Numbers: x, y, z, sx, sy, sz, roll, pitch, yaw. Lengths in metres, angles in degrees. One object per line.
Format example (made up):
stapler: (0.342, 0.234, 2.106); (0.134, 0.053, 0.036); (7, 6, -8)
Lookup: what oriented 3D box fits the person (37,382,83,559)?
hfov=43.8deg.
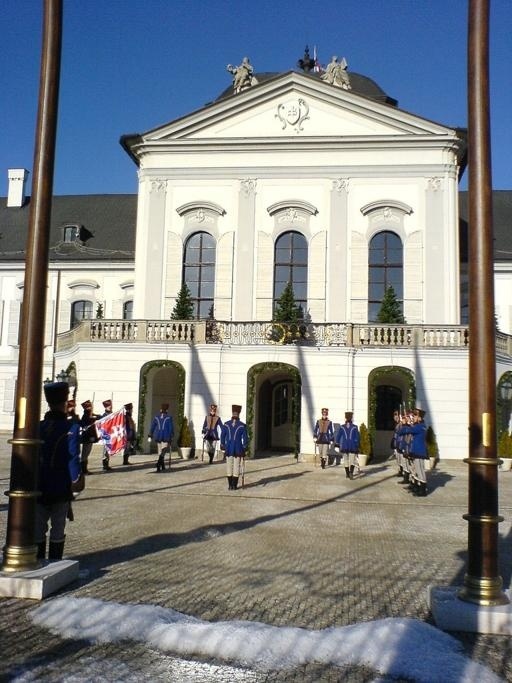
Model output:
person: (-1.920, 1.256, 6.266); (0.421, 1.730, 0.607); (2, -9, -19)

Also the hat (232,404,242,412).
hat: (-0.427, 1.494, 14.241); (0.225, 0.186, 0.228); (-2, -3, 37)

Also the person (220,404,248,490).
person: (-0.511, 2.312, 14.038); (0.568, 1.811, 0.951); (0, -8, -3)

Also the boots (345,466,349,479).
boots: (2.381, 3.411, 16.593); (0.097, 0.266, 0.205); (-2, -8, 11)

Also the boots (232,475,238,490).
boots: (-0.446, 3.045, 13.689); (0.096, 0.262, 0.303); (-2, -8, 10)

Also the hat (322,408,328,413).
hat: (2.118, 2.148, 19.677); (0.144, 0.142, 0.156); (0, -8, 6)

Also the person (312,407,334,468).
person: (2.088, 2.951, 19.650); (0.595, 1.834, 1.596); (-1, -8, 6)

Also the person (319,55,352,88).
person: (3.474, -11.794, 27.873); (1.093, 1.461, 0.503); (0, -8, -6)

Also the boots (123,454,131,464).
boots: (-3.757, 3.418, 18.456); (0.176, 0.311, 0.661); (1, -8, -12)

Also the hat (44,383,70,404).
hat: (-2.000, 0.517, 6.394); (0.183, 0.187, 0.233); (0, 0, -4)

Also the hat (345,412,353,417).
hat: (2.643, 2.084, 18.255); (0.168, 0.232, 0.320); (-2, -2, 17)

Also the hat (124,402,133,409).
hat: (-3.919, 1.960, 19.246); (0.259, 0.136, 0.250); (-4, -3, 24)

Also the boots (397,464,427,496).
boots: (3.505, 3.132, 14.350); (0.298, 0.311, 0.895); (6, -5, -7)
